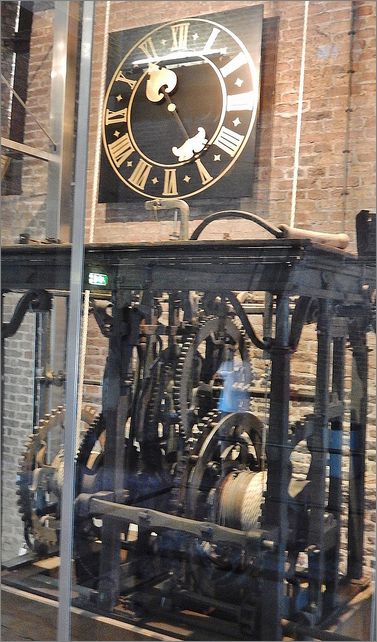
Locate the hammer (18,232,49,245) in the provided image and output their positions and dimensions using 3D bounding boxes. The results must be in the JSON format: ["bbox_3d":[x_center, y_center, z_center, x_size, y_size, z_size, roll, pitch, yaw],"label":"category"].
[{"bbox_3d":[-0.411,-0.217,2.156,0.109,0.039,0.018,-5,-15,40],"label":"hammer"}]

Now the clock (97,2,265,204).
[{"bbox_3d":[-0.002,-0.487,1.829,0.521,0.497,0.046,2,-1,33],"label":"clock"}]
